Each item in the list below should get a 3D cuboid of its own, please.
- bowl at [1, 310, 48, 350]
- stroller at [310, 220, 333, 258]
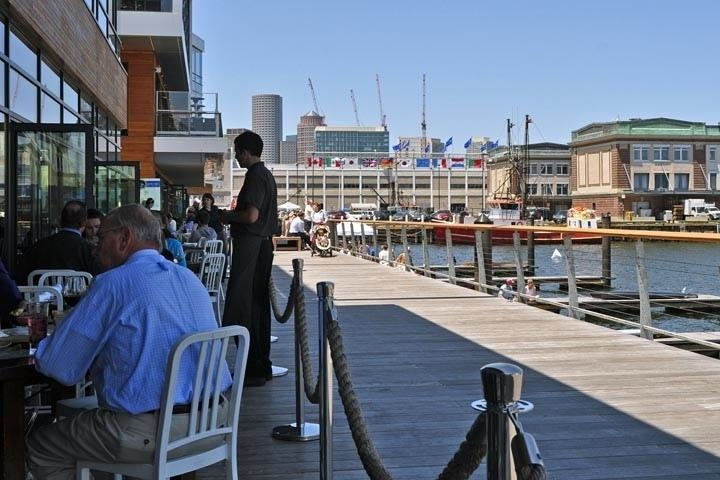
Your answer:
[{"bbox_3d":[-2.285,0.630,5.501,0.253,0.227,0.144,0,-9,1],"label":"bowl"},{"bbox_3d":[-1.165,0.073,24.395,0.591,0.691,1.108,-1,-2,-7],"label":"stroller"}]
